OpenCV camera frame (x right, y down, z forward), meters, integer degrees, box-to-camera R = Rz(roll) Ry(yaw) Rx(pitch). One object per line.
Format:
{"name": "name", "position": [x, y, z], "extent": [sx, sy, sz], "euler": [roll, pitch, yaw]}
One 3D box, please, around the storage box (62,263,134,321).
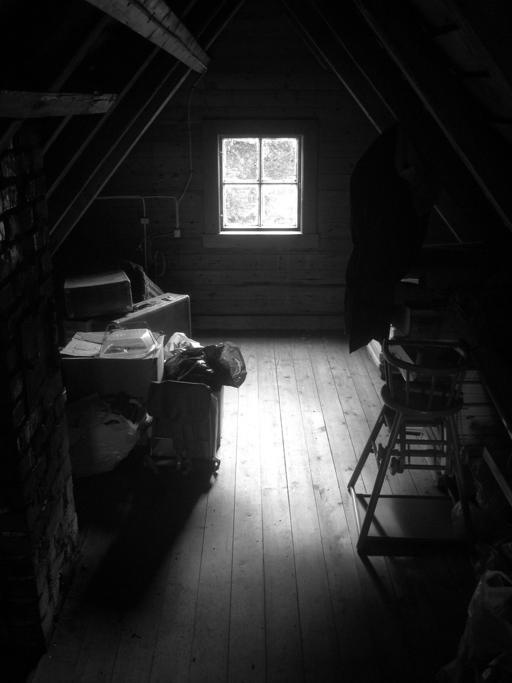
{"name": "storage box", "position": [-1.137, -0.469, 3.927], "extent": [0.462, 0.302, 0.496], "euler": [-4, 42, 1]}

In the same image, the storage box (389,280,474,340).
{"name": "storage box", "position": [0.733, -0.141, 2.266], "extent": [0.299, 0.276, 0.194], "euler": [5, 13, 19]}

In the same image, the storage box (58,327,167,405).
{"name": "storage box", "position": [-0.835, 0.155, 3.139], "extent": [0.568, 0.353, 0.429], "euler": [-1, 14, -1]}
